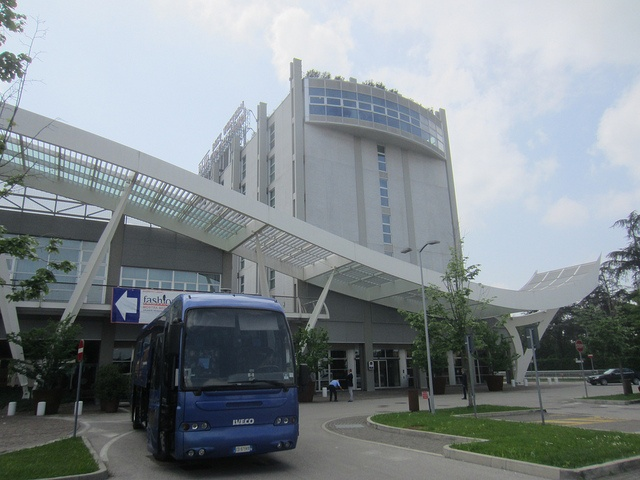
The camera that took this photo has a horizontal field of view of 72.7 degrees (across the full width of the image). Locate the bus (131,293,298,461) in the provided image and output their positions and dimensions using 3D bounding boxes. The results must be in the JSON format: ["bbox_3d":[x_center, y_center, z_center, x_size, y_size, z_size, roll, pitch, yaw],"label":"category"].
[{"bbox_3d":[-2.771,3.477,11.038,2.916,3.989,3.640,10,-22,-32],"label":"bus"}]

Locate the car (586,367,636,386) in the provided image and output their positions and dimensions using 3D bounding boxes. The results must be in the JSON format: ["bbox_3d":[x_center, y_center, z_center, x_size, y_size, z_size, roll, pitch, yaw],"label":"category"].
[{"bbox_3d":[26.752,12.508,39.536,3.247,1.446,3.207,10,-22,-30],"label":"car"}]

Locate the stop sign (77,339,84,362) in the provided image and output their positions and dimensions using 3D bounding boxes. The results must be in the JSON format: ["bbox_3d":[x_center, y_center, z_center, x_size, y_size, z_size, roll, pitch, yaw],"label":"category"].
[{"bbox_3d":[-7.934,3.711,14.422,0.143,0.687,0.383,8,-20,-26],"label":"stop sign"}]
